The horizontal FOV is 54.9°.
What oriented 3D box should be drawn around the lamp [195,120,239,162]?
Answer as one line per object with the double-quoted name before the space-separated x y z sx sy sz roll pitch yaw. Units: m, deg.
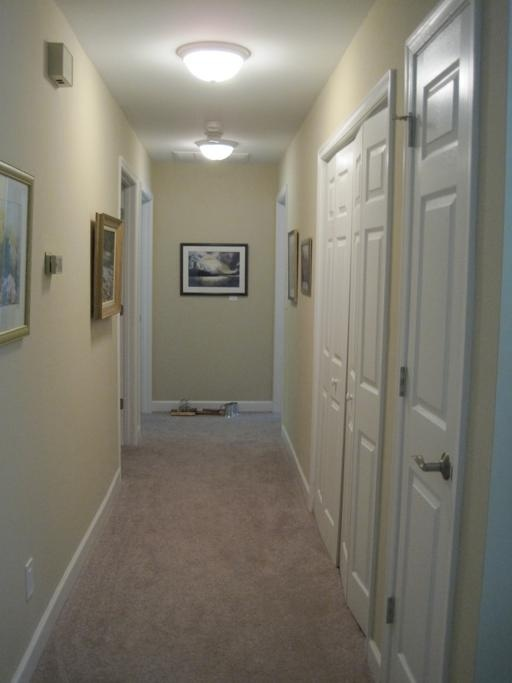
"lamp" -0.329 -1.705 4.149 0.181 0.311 0.208 -10 19 -31
